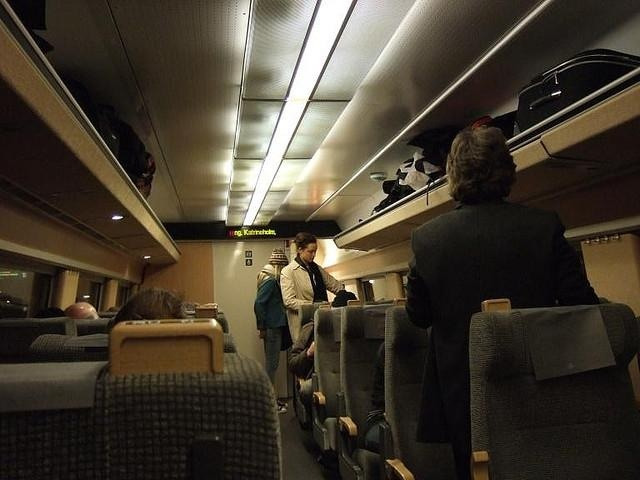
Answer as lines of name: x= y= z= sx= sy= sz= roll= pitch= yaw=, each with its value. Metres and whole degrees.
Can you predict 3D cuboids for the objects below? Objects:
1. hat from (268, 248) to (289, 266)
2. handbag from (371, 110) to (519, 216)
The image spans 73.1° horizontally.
hat: x=-0.799 y=0.302 z=7.791 sx=0.348 sy=0.345 sz=0.280 roll=-7 pitch=-8 yaw=42
handbag: x=1.381 y=-1.014 z=5.667 sx=1.135 sy=0.357 sz=0.857 roll=-33 pitch=-2 yaw=34
